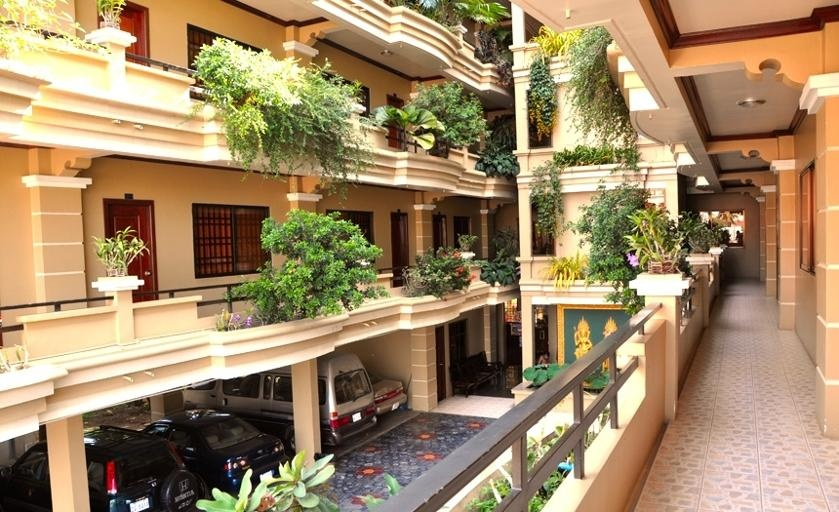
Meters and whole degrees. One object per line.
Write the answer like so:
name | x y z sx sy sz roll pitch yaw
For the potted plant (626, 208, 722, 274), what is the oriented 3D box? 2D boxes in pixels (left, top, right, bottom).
potted plant | 5.533 -0.296 11.580 1.960 1.170 3.076 1 12 21

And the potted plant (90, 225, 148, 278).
potted plant | -5.539 -0.024 9.856 0.801 0.762 0.907 -3 -9 -41
